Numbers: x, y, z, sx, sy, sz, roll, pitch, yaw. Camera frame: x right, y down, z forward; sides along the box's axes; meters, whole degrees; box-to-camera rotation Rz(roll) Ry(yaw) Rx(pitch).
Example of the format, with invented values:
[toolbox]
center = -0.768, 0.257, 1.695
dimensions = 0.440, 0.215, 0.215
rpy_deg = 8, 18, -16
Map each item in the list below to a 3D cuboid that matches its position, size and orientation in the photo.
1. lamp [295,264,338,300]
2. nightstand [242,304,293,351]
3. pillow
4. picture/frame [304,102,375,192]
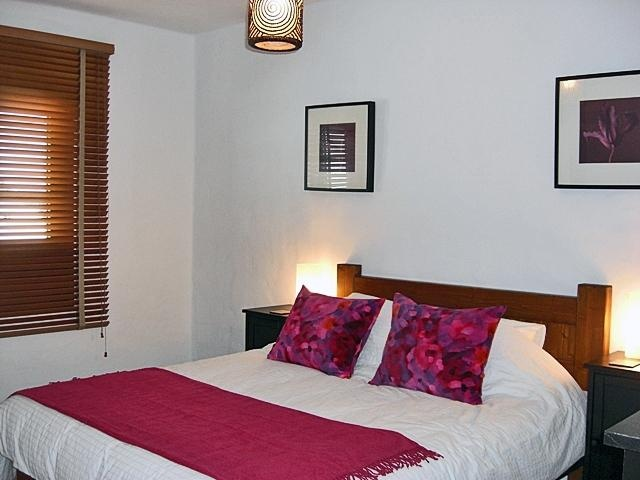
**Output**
[lamp]
center = -0.023, 0.324, 3.924
dimensions = 0.258, 0.298, 0.261
rpy_deg = 0, -2, 1
[nightstand]
center = -0.396, 0.664, 3.936
dimensions = 0.306, 0.430, 0.408
rpy_deg = -3, 4, -45
[pillow]
center = 0.399, 0.571, 2.995
dimensions = 1.324, 0.470, 0.461
rpy_deg = 3, 6, 29
[picture/frame]
center = 0.174, -0.727, 3.860
dimensions = 0.644, 0.728, 0.076
rpy_deg = 7, 10, 41
